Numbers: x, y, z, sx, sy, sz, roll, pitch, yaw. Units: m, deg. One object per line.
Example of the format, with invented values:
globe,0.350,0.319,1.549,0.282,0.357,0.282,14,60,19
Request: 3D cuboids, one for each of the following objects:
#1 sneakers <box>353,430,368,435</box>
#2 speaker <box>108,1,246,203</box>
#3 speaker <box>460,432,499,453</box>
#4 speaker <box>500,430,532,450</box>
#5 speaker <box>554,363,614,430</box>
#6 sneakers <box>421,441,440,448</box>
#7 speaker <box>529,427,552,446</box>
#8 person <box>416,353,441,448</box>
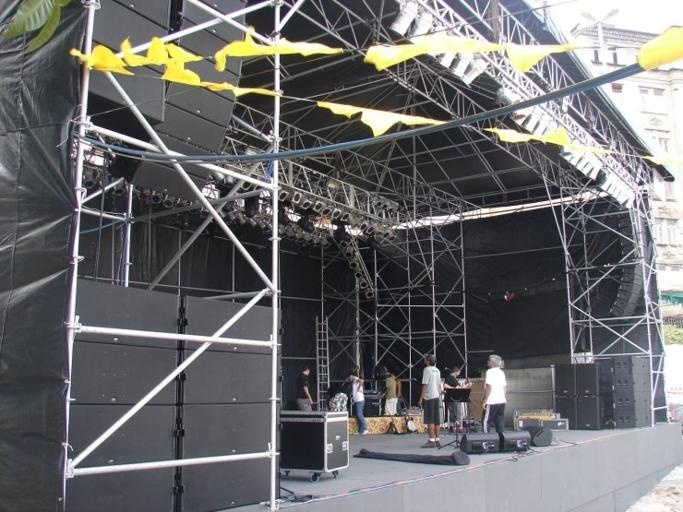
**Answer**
sneakers,0.355,3.736,15.434,0.367,0.160,0.115,-9,-12,42
speaker,-1.681,-1.867,8.158,1.045,2.300,0.763,7,-14,-38
speaker,1.990,2.710,10.555,0.545,0.285,0.300,2,-19,-19
speaker,2.587,2.736,10.789,0.277,0.282,0.624,-13,-16,43
speaker,5.101,2.892,15.292,1.217,1.411,1.001,-4,-11,8
sneakers,1.403,3.006,11.666,0.289,0.106,0.266,-5,-12,13
speaker,3.084,2.783,11.284,0.447,0.339,0.233,0,-7,-12
person,1.443,2.326,11.856,0.305,1.468,0.547,-3,-11,6
